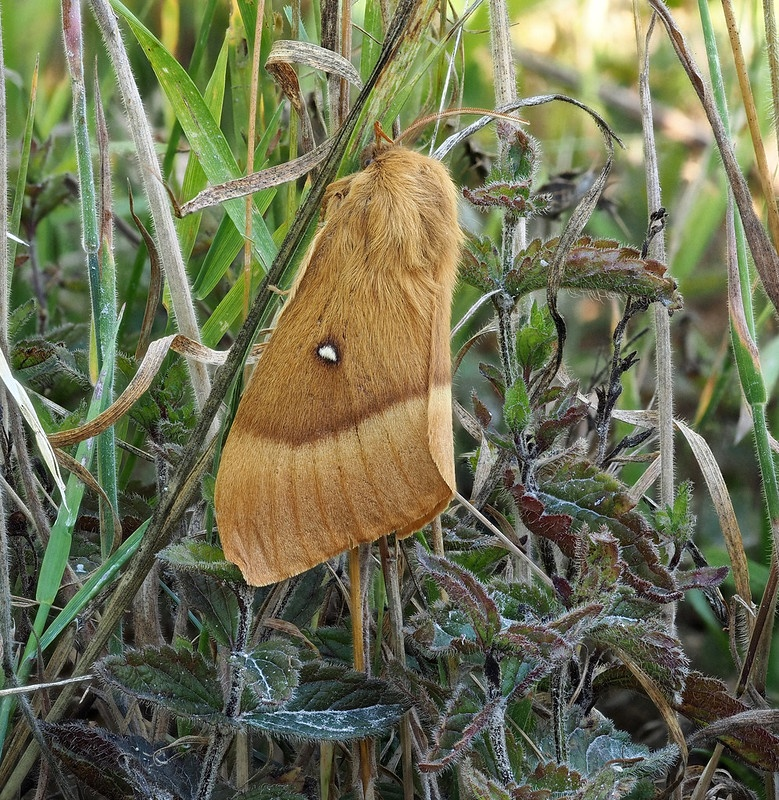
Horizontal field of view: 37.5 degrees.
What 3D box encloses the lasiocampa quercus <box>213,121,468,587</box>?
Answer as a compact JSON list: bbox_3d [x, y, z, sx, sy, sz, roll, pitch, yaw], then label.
[{"bbox_3d":[-0.072,-0.055,1.828,0.439,0.495,0.428,-6,30,-12],"label":"lasiocampa quercus"}]
